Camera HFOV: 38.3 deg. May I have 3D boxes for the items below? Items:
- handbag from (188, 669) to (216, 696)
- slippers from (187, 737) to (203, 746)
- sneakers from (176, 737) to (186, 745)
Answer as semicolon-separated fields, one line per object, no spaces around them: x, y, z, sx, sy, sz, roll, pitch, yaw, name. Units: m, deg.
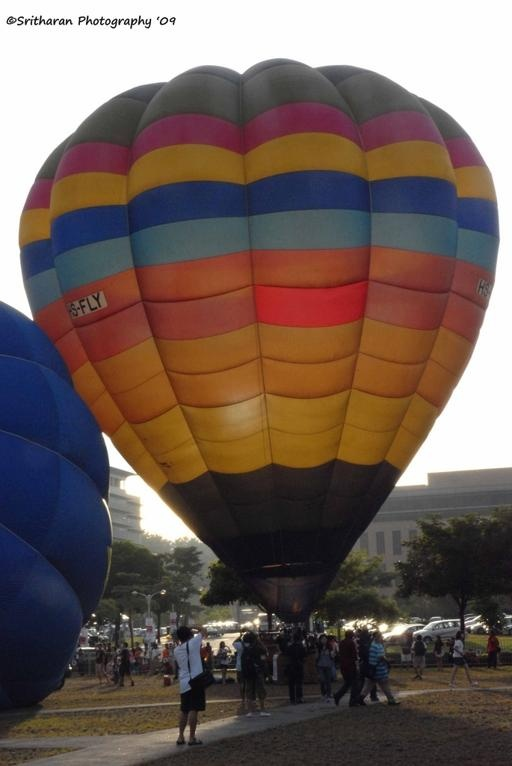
-0.528;2.986;7.364;0.188;0.237;0.090;-2;9;7;handbag
-0.610;3.617;7.436;0.151;0.076;0.076;0;-1;-42;slippers
-0.776;3.607;7.483;0.047;0.053;0.137;0;-16;-1;sneakers
